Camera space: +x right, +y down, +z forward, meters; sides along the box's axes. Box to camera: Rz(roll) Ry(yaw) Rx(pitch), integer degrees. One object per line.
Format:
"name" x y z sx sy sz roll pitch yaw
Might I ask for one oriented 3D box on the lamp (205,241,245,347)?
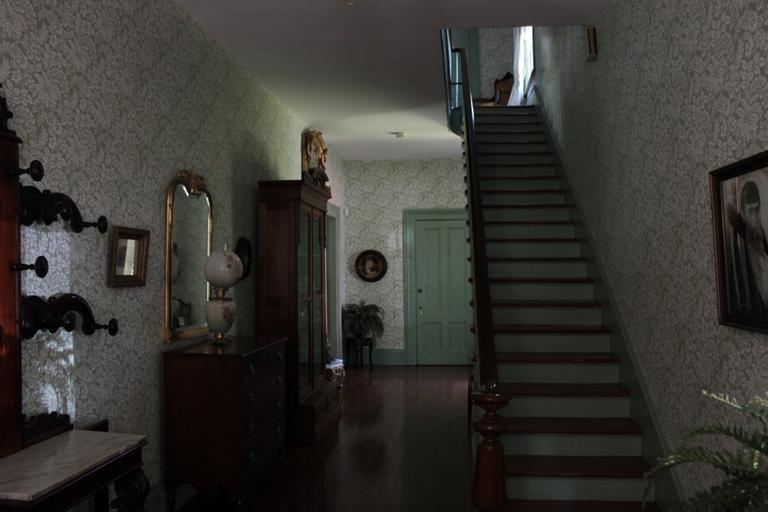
"lamp" -1.278 0.315 4.254 0.289 0.725 0.212 -1 1 -17

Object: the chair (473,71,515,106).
"chair" 2.102 -3.072 9.687 0.464 0.727 0.906 0 2 23

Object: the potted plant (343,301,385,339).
"potted plant" -0.337 1.079 8.809 0.657 0.521 0.735 -2 8 -3

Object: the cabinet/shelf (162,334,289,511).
"cabinet/shelf" -1.212 1.257 3.974 0.680 1.273 1.248 -1 -1 8

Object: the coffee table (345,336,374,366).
"coffee table" -0.400 1.577 8.844 0.469 0.575 0.503 4 -6 -38
